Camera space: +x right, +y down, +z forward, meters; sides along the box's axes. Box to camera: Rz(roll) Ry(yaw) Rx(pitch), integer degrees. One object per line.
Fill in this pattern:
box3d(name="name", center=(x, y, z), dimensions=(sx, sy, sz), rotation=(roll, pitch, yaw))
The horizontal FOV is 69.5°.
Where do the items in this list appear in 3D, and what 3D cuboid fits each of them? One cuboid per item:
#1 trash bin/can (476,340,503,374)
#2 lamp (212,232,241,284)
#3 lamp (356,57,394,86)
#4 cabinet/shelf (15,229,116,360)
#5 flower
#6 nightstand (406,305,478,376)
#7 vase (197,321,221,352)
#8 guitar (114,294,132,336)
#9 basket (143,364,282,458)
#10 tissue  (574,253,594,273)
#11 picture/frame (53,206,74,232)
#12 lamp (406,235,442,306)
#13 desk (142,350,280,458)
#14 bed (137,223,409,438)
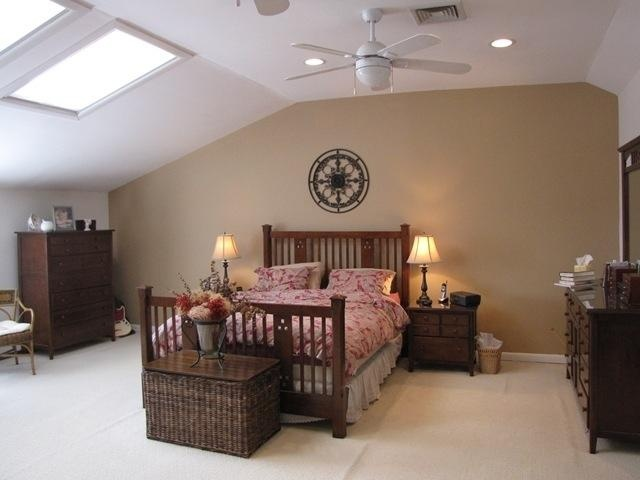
box3d(name="trash bin/can", center=(1.892, 1.283, 5.108), dimensions=(0.255, 0.319, 0.294), rotation=(-3, 4, 27))
box3d(name="lamp", center=(-1.288, 0.274, 6.196), dimensions=(0.367, 0.687, 0.362), rotation=(5, 10, 33))
box3d(name="lamp", center=(0.410, -1.293, 3.604), dimensions=(0.298, 0.196, 0.306), rotation=(-4, 8, -22))
box3d(name="cabinet/shelf", center=(-3.131, 0.758, 6.260), dimensions=(0.824, 1.488, 0.560), rotation=(-7, -19, -12))
box3d(name="flower", center=(-0.855, 0.448, 3.907), dimensions=(0.740, 0.442, 0.611), rotation=(2, 9, 38))
box3d(name="nightstand", center=(1.338, 0.995, 5.371), dimensions=(0.890, 0.912, 0.645), rotation=(-1, -2, 13))
box3d(name="vase", center=(-0.919, 0.799, 3.795), dimensions=(0.214, 0.319, 0.166), rotation=(-3, 7, -14))
box3d(name="guitar", center=(-2.893, 1.128, 6.777), dimensions=(0.242, 0.502, 0.587), rotation=(-4, 8, -22))
box3d(name="basket", center=(-0.858, 1.398, 4.018), dimensions=(1.099, 0.627, 0.818), rotation=(-4, -5, 28))
box3d(name="tissue ", center=(2.553, 0.230, 4.502), dimensions=(0.222, 0.139, 0.277), rotation=(0, 7, 35))
box3d(name="picture/frame", center=(-3.481, -0.279, 6.218), dimensions=(0.039, 0.422, 0.318), rotation=(-6, 1, 28))
box3d(name="lamp", center=(1.198, 0.349, 5.400), dimensions=(0.359, 0.800, 0.505), rotation=(1, 7, 15))
box3d(name="desk", center=(-0.899, 1.298, 3.628), dimensions=(1.043, 0.629, 0.654), rotation=(0, 0, 23))
box3d(name="bed", center=(-0.155, 0.875, 4.823), dimensions=(2.010, 1.643, 2.471), rotation=(0, 3, 20))
